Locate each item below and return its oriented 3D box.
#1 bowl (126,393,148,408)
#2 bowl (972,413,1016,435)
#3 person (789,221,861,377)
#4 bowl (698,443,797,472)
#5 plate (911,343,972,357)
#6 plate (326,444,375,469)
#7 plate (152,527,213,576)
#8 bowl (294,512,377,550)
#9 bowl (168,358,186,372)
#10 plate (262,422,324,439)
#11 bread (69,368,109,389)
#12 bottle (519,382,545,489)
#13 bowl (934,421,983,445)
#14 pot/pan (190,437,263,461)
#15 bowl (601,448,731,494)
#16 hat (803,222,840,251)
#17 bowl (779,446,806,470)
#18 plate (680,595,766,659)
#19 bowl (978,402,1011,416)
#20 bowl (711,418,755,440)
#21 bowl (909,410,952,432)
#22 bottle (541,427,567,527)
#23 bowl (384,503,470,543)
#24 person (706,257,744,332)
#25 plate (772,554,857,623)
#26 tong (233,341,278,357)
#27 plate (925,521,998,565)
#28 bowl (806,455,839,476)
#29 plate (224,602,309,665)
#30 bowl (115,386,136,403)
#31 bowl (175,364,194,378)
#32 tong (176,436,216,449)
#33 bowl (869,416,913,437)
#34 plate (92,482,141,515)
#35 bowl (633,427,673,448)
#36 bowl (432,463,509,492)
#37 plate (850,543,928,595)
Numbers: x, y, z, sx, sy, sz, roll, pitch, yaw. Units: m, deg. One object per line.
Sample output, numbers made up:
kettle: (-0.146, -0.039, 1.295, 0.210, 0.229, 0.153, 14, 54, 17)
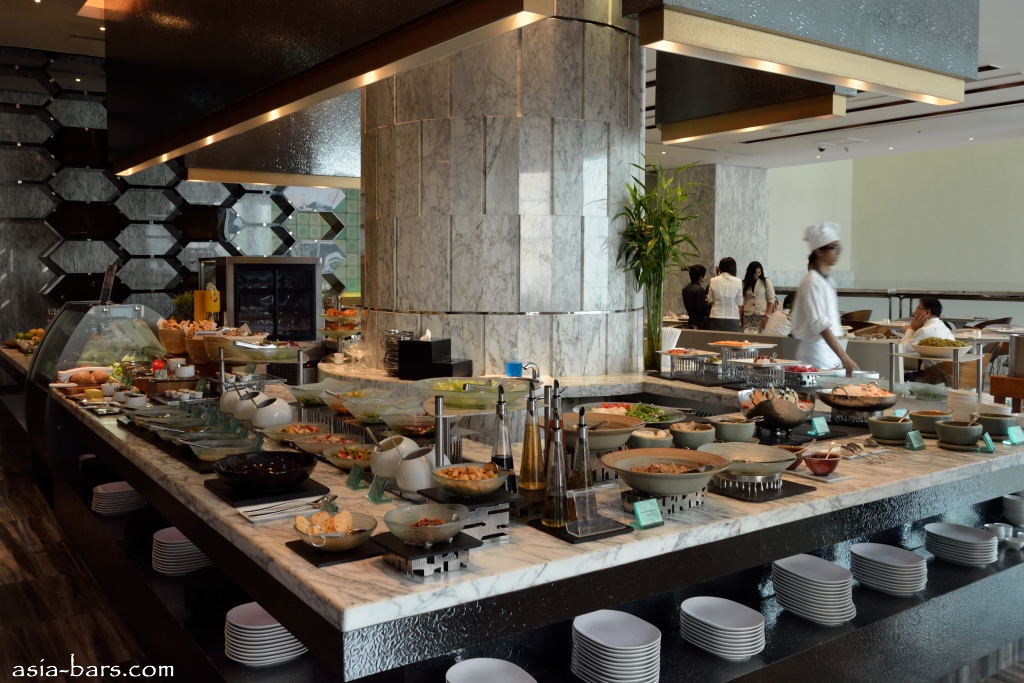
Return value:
bowl: (-2.084, 0.336, 4.074, 0.108, 0.069, 0.165, -3, 11, -25)
bowl: (2.298, 0.400, 3.479, 0.138, 0.069, 0.125, -2, 2, 6)
person: (2.212, -0.306, 5.125, 0.434, 1.030, 0.609, 6, 12, 19)
bowl: (0.939, 0.458, 2.877, 0.207, 0.041, 0.197, 0, 3, 0)
plate: (2.908, 0.062, 5.096, 0.307, 0.059, 0.286, 0, -3, 0)
plate: (-0.677, 0.483, 3.088, 0.151, 0.030, 0.140, -2, 7, -26)
plate: (-1.436, 0.920, 3.182, 0.330, 0.113, 0.227, 1, 5, -16)
bowl: (-0.580, 0.618, 2.420, 0.258, 0.102, 0.189, -1, 11, -16)
bowl: (-2.145, 0.154, 4.705, 0.099, 0.059, 0.089, 1, -1, 6)
plate: (-1.005, 0.419, 3.376, 0.260, 0.038, 0.262, 0, 10, -11)
bread: (-2.757, 0.232, 4.778, 0.173, 0.058, 0.164, 4, 6, 27)
bottle: (0.082, 0.356, 2.783, 0.095, 0.404, 0.241, 3, 11, 2)
bowl: (2.054, 0.414, 3.347, 0.139, 0.063, 0.142, -1, -4, 0)
pot/pan: (-1.205, 0.448, 3.087, 0.237, 0.076, 0.146, -10, 9, -26)
bowl: (0.554, 0.478, 2.685, 0.444, 0.081, 0.416, -1, 5, 0)
hat: (2.140, -0.721, 5.058, 0.246, 0.160, 0.203, 4, 14, 28)
bowl: (1.189, 0.487, 3.059, 0.128, 0.076, 0.115, -1, 5, 1)
plate: (0.769, 1.056, 2.703, 0.189, 0.080, 0.236, -3, 4, -35)
bowl: (2.355, 0.327, 3.580, 0.090, 0.070, 0.082, -1, 1, -16)
bowl: (0.981, 0.395, 3.275, 0.137, 0.054, 0.135, 0, 0, 0)
bowl: (2.040, 0.383, 3.575, 0.141, 0.069, 0.127, -1, 4, -6)
bottle: (0.161, 0.449, 2.587, 0.081, 0.378, 0.191, 3, 12, 4)
bowl: (-0.276, 0.585, 2.342, 0.248, 0.093, 0.172, 4, 11, 14)
person: (2.818, -0.611, 9.601, 0.458, 0.925, 1.200, 6, 11, 16)
plate: (1.181, 0.984, 2.940, 0.259, 0.125, 0.323, -7, 8, -39)
tong: (-1.541, 0.046, 4.525, 0.369, 0.076, 0.142, 6, 11, 24)
plate: (2.041, 0.925, 3.336, 0.189, 0.088, 0.239, -3, 2, -39)
bowl: (1.263, 0.501, 2.980, 0.111, 0.056, 0.102, -1, -1, 0)
plate: (-0.860, 1.058, 2.598, 0.287, 0.102, 0.224, 1, 1, 21)
bowl: (-2.224, 0.308, 4.228, 0.138, 0.070, 0.125, 1, 1, 1)
bowl: (-2.049, 0.186, 4.591, 0.095, 0.055, 0.086, 1, -1, 0)
tong: (-1.368, 0.435, 3.183, 0.094, 0.024, 0.084, -1, -1, 45)
bowl: (1.783, 0.410, 3.452, 0.132, 0.053, 0.121, 2, 3, 0)
plate: (-2.076, 0.832, 3.872, 0.317, 0.093, 0.215, 1, 5, -14)
bowl: (0.600, 0.411, 3.132, 0.170, 0.058, 0.201, 3, 10, 8)
bowl: (-0.157, 0.475, 2.563, 0.191, 0.075, 0.238, -7, 13, -39)
plate: (1.591, 0.959, 3.089, 0.204, 0.093, 0.252, -5, 5, -43)
